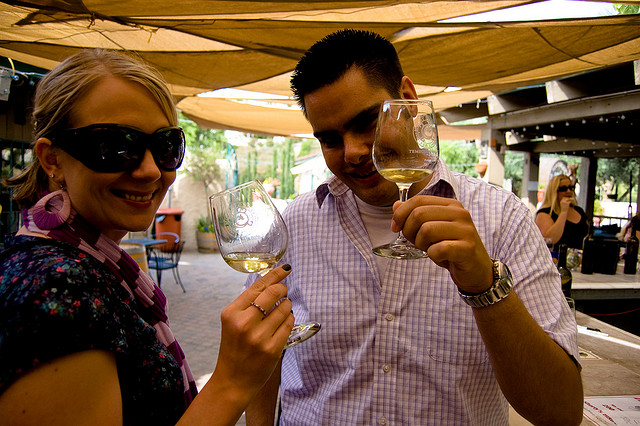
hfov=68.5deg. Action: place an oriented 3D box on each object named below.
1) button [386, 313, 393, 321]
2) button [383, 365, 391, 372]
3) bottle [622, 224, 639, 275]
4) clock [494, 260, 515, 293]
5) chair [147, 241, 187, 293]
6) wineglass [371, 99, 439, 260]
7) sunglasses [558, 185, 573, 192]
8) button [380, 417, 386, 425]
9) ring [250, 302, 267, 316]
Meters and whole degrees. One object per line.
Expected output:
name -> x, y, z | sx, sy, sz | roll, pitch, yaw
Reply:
button -> 0.366, 0.542, 2.451 | 0.026, 0.038, 0.008 | 0, 2, 6
button -> 0.349, 0.799, 2.420 | 0.032, 0.032, 0.005 | 0, 2, 6
bottle -> 3.790, 0.510, 5.721 | 0.153, 0.445, 0.335 | 1, 2, 34
clock -> 0.801, 0.278, 2.046 | 0.092, 0.130, 0.069 | 0, 2, 0
chair -> -3.262, 1.135, 9.661 | 0.737, 0.830, 0.650 | -14, -10, -5
wineglass -> 0.405, -0.164, 2.243 | 0.301, 0.808, 0.316 | 0, 2, 5
sunglasses -> 3.941, -0.395, 7.515 | 0.236, 0.101, 0.081 | 0, 2, -7
button -> 0.322, 1.058, 2.390 | 0.032, 0.031, 0.007 | 19, 35, -13
ring -> -0.246, 0.383, 1.898 | 0.051, 0.014, 0.053 | 32, -13, 8
